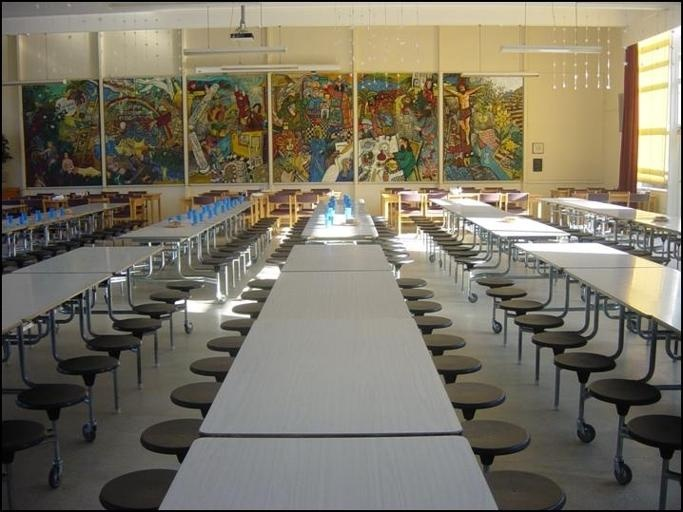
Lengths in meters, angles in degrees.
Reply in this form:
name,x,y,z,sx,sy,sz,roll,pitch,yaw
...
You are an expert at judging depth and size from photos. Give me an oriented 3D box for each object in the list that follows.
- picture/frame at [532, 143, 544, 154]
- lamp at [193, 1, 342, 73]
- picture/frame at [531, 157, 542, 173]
name,x,y,z,sx,sy,sz,roll,pitch,yaw
picture/frame,5.614,-3.091,15.027,0.302,0.309,0.025,-1,3,-4
lamp,-1.852,-5.998,14.045,3.768,1.536,2.702,0,8,-3
picture/frame,5.587,-2.642,15.057,0.431,0.545,0.054,0,3,-4
